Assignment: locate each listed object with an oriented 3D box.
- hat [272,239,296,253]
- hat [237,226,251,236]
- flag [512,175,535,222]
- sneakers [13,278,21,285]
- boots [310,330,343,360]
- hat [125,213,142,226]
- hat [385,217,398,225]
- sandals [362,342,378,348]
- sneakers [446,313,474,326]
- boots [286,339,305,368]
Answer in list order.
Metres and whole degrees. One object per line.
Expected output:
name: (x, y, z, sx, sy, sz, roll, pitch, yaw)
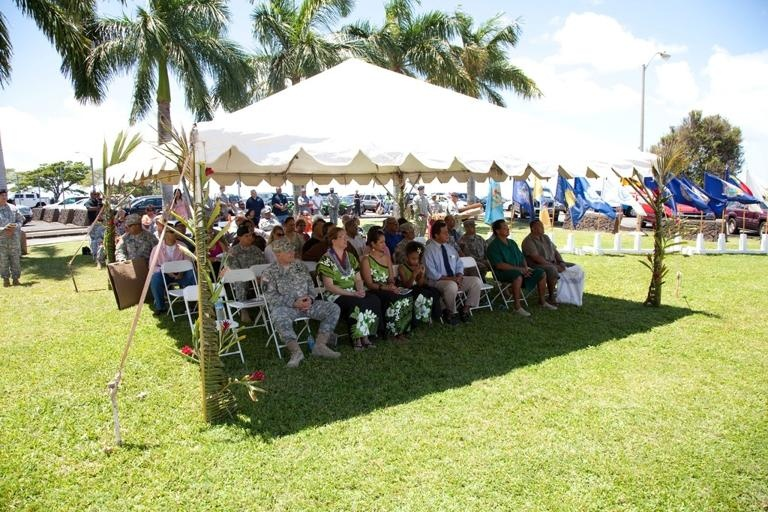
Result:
hat: (-1.429, -0.150, 7.703, 0.326, 0.201, 0.184, -6, 5, -30)
hat: (-2.368, -0.419, 9.073, 0.175, 0.182, 0.146, -19, 8, -6)
flag: (5.296, -2.232, 20.410, 0.742, 2.253, 0.175, -5, -32, 16)
sneakers: (-8.199, 0.576, 11.951, 0.147, 0.178, 0.151, 1, 1, 40)
boots: (-0.879, 1.316, 7.728, 0.543, 0.473, 0.221, 4, -3, -11)
hat: (-4.758, -0.711, 10.176, 0.194, 0.229, 0.256, 10, 20, -9)
hat: (0.139, -0.643, 10.030, 0.181, 0.159, 0.134, -11, 14, 17)
sandals: (-0.211, 1.351, 8.053, 0.080, 0.045, 0.174, -1, 1, -27)
sneakers: (1.255, 1.070, 9.105, 0.531, 0.247, 0.174, -3, 12, -16)
boots: (-1.252, 1.358, 7.567, 0.234, 0.349, 0.364, -4, 5, -10)
